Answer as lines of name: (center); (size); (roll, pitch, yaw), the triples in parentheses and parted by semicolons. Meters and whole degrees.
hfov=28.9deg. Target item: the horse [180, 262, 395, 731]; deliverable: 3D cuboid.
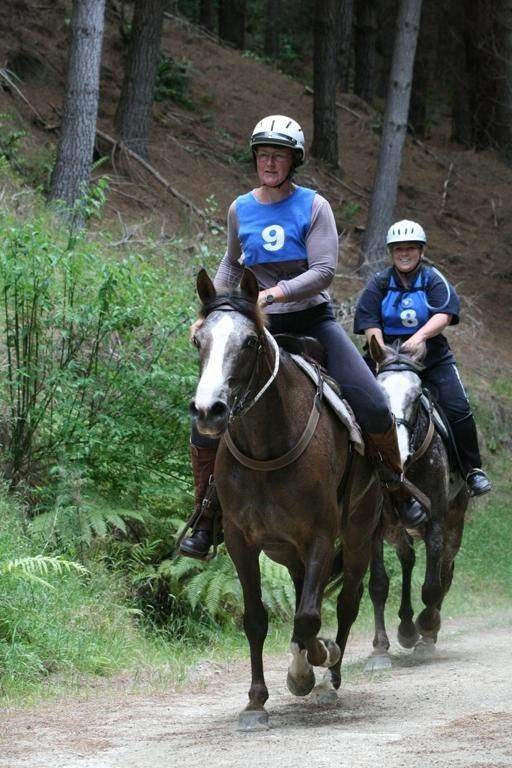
horse: (0.214, 0.733, 5.941); (0.883, 2.550, 2.626); (-4, -8, 8)

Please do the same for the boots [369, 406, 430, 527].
boots: (1.051, 0.678, 7.467); (0.364, 0.465, 1.255); (1, -39, 23)

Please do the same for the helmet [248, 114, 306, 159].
helmet: (0.124, -1.592, 6.341); (0.339, 0.294, 0.277); (-2, -8, -1)
